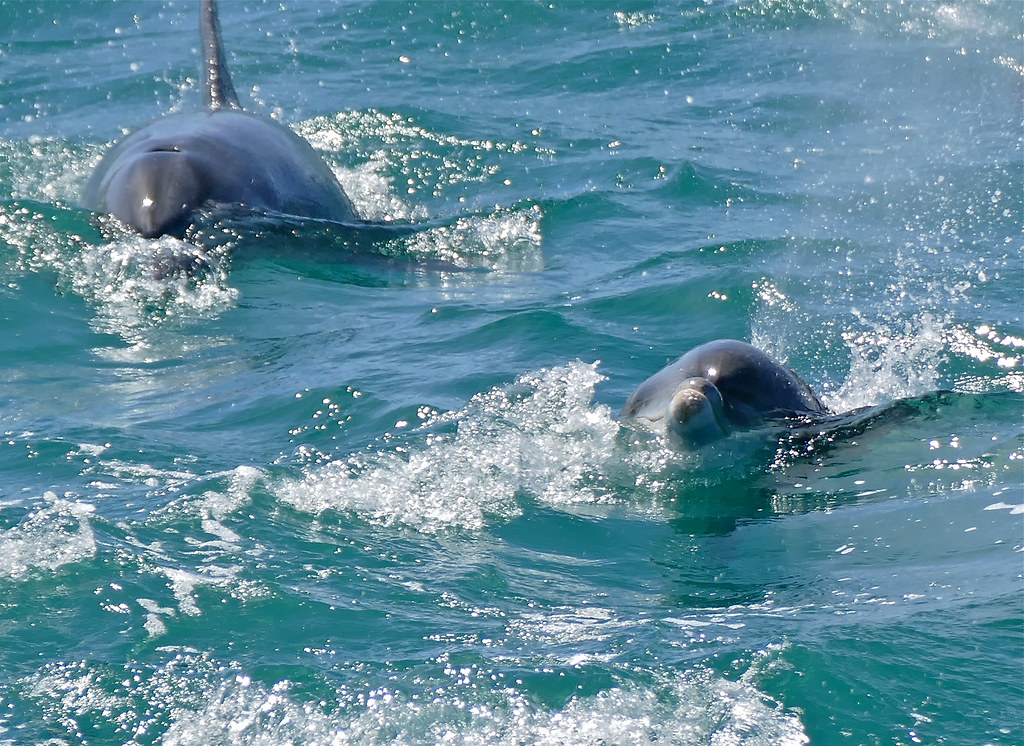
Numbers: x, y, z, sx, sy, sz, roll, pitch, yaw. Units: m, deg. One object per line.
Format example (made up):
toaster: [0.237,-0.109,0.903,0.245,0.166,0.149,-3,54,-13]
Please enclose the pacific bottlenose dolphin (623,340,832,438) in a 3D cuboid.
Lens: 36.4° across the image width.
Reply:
pacific bottlenose dolphin: [1.429,0.114,10.378,1.123,0.583,0.725,-8,17,-21]
